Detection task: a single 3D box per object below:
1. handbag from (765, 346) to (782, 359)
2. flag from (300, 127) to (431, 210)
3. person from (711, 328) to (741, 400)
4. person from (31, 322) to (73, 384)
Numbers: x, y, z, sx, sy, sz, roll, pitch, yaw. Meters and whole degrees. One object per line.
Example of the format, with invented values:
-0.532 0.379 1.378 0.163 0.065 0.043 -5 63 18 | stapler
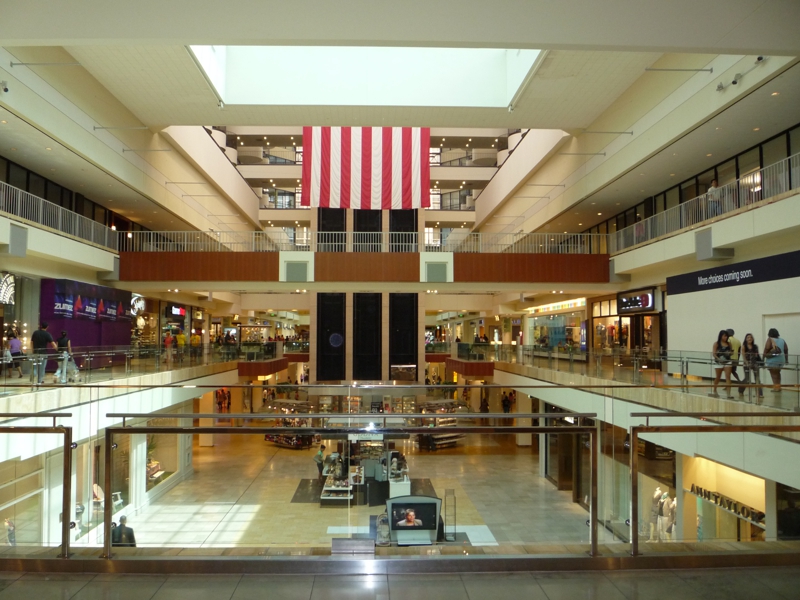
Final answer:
7.477 1.047 12.493 0.229 0.259 0.300 3 0 11 | handbag
-1.190 -4.970 23.318 5.484 3.011 0.143 7 15 26 | flag
6.936 1.178 13.259 0.512 1.094 1.790 -5 -7 28 | person
-8.694 1.342 15.456 0.841 0.759 1.195 8 13 -18 | person
